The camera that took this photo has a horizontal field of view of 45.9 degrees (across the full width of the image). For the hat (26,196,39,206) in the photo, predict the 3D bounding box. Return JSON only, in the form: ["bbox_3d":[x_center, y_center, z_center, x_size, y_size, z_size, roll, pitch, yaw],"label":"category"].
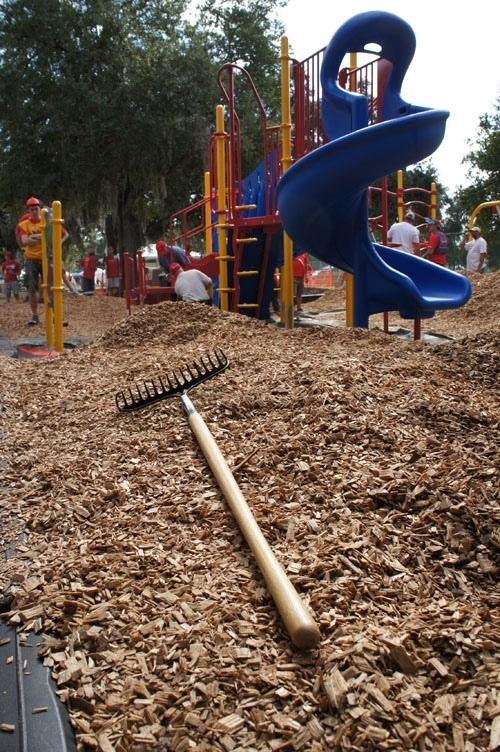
[{"bbox_3d":[-3.063,-2.448,8.363,0.135,0.129,0.238,-5,8,-27],"label":"hat"}]

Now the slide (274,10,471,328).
[{"bbox_3d":[1.071,-1.798,5.267,1.464,2.793,1.416,-1,4,-7],"label":"slide"}]

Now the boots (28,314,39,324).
[{"bbox_3d":[-3.709,-0.954,10.152,0.097,0.116,0.269,4,15,-12],"label":"boots"}]
